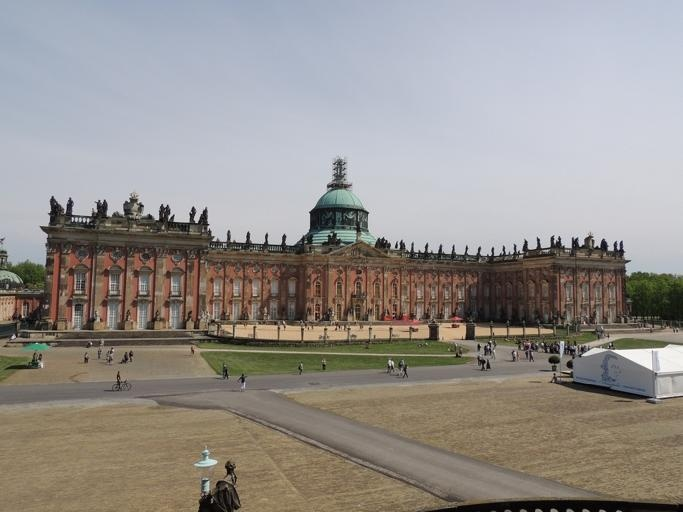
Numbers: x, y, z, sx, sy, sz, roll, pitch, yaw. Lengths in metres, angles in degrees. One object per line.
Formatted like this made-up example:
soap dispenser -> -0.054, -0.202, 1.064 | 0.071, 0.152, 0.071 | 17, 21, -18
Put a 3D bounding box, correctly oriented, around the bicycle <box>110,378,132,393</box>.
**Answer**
bicycle -> -16.801, 9.959, 58.381 | 1.422, 0.799, 0.843 | 8, -17, -28
